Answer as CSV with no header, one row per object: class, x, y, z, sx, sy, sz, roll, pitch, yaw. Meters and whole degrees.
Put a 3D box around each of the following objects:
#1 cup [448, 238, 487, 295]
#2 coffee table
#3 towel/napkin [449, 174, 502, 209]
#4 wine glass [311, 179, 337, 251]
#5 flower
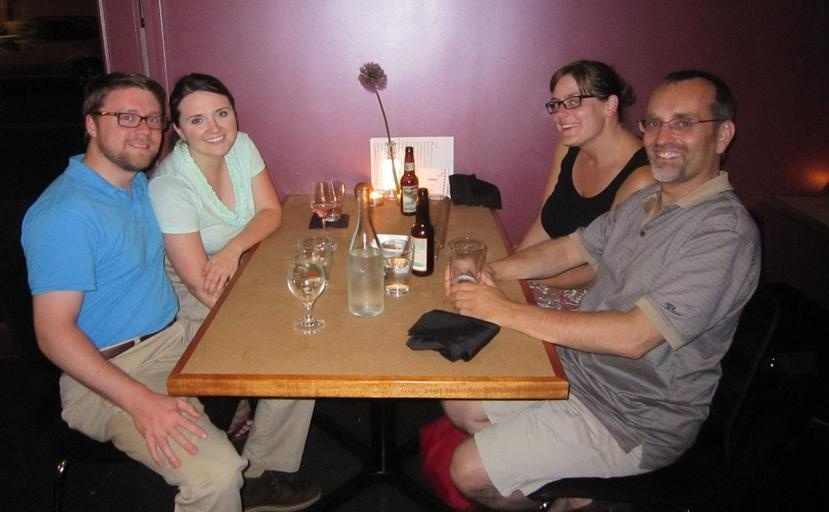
cup,0.257,0.051,2.837,0.207,0.246,0.210,1,26,0
coffee table,-0.248,0.384,2.676,1.103,0.660,1.091,5,41,3
towel/napkin,0.376,-0.405,3.677,0.265,0.103,0.301,5,14,2
wine glass,-0.547,-0.249,3.446,0.171,0.387,0.157,-4,13,-11
flower,-0.250,-0.912,3.956,0.231,0.749,0.550,-4,25,-5
